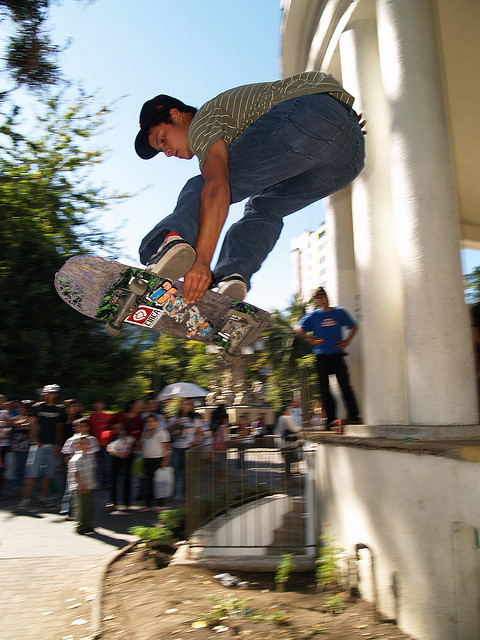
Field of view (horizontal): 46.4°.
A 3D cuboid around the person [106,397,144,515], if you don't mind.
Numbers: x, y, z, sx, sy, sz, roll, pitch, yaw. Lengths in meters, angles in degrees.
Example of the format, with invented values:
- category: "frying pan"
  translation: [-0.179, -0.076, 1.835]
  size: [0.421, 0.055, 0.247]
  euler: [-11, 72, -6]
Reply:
- category: "person"
  translation: [-1.595, 1.906, 7.894]
  size: [0.474, 1.562, 0.660]
  euler: [0, -8, -12]

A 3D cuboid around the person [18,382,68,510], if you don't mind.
- category: "person"
  translation: [-2.885, 1.851, 8.237]
  size: [0.651, 1.757, 0.674]
  euler: [1, -8, -18]

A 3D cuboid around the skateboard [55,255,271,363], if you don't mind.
- category: "skateboard"
  translation: [-0.402, -0.052, 3.563]
  size: [1.622, 0.359, 0.236]
  euler: [16, -3, -39]

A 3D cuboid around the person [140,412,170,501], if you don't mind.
- category: "person"
  translation: [-1.183, 1.888, 7.773]
  size: [0.370, 1.211, 0.528]
  euler: [0, -7, -11]

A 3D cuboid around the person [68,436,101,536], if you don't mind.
- category: "person"
  translation: [-2.048, 2.092, 7.409]
  size: [0.396, 1.181, 1.788]
  euler: [0, -7, -14]

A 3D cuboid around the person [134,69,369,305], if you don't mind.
- category: "person"
  translation: [0.122, -0.806, 3.435]
  size: [1.347, 1.481, 0.826]
  euler: [4, -9, -40]

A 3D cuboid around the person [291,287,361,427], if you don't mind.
- category: "person"
  translation: [0.949, 0.386, 6.077]
  size: [0.683, 1.538, 0.367]
  euler: [-3, -8, 7]
